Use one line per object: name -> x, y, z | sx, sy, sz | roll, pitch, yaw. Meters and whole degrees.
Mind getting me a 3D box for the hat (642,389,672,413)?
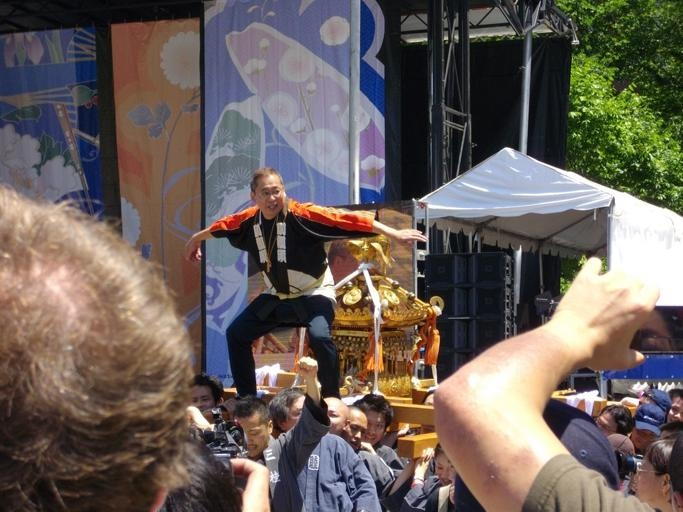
hat -> 3.849, 1.749, 15.336 | 0.325, 0.189, 0.239 | 32, 10, 38
